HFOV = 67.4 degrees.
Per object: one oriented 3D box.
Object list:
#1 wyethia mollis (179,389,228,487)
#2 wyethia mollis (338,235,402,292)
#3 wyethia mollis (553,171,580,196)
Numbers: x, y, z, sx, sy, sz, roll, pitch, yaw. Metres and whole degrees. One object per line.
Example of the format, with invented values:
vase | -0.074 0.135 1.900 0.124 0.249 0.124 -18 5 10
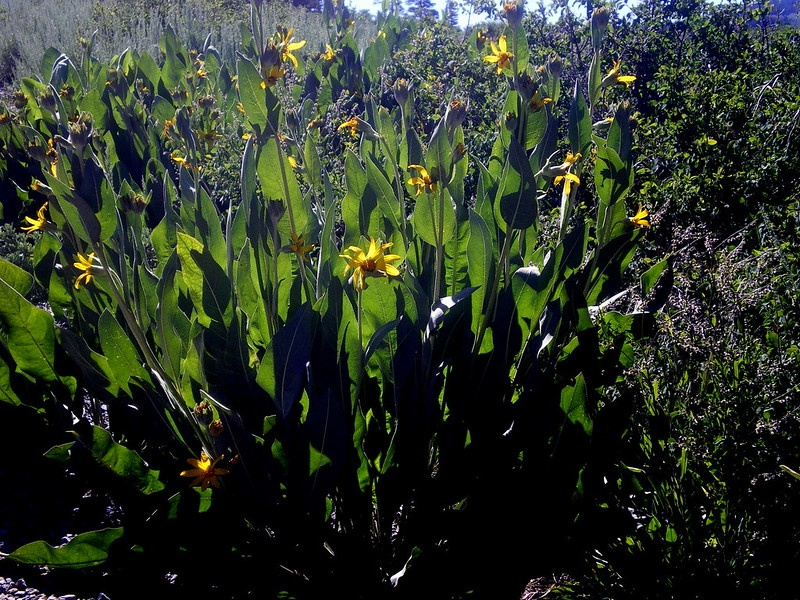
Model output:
wyethia mollis | -0.534 0.407 1.663 0.057 0.282 0.157 -7 10 -4
wyethia mollis | -0.097 -0.105 1.647 0.169 0.059 0.156 -26 -2 -34
wyethia mollis | 0.554 -0.415 1.988 0.073 0.036 0.120 -1 -14 9
